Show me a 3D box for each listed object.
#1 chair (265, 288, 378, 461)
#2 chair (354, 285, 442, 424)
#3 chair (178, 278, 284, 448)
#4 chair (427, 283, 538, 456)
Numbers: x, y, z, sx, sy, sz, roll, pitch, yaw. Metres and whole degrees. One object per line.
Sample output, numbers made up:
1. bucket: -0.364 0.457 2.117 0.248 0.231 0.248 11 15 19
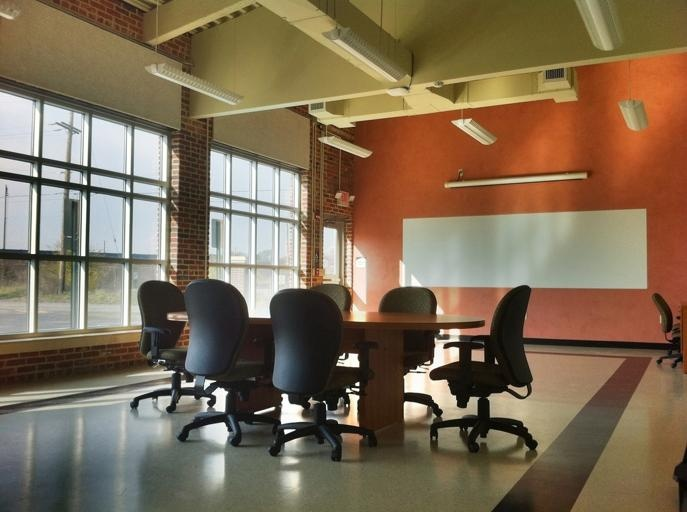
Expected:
1. chair: -0.198 0.899 4.658 0.827 1.287 0.837 -3 -3 28
2. chair: 0.609 0.973 6.050 0.778 1.291 0.768 -1 -3 10
3. chair: -1.030 0.879 4.976 0.805 1.322 0.787 4 -8 -43
4. chair: 1.154 0.915 4.859 0.806 1.333 0.767 -1 -4 28
